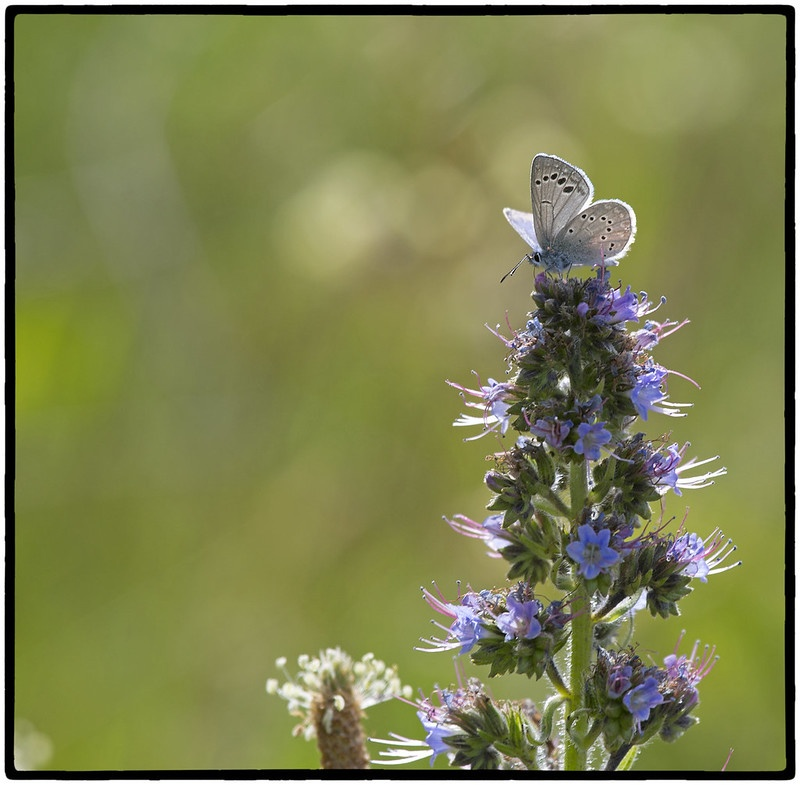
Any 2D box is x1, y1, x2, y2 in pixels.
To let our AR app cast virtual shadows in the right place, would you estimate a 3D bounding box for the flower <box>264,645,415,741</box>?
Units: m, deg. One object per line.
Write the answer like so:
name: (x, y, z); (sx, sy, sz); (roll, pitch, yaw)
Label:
flower: (-0.400, 1.619, 6.718); (0.719, 0.488, 0.690); (4, -9, -41)
